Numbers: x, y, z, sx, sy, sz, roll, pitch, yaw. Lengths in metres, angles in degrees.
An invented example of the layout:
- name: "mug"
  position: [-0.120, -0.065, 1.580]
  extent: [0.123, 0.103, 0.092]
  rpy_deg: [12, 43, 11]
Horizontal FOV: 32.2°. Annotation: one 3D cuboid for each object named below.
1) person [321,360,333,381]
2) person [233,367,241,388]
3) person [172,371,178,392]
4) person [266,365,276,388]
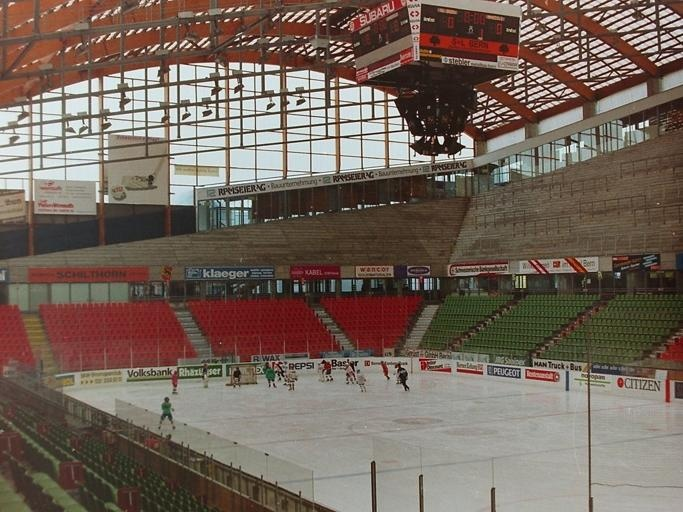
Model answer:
- name: "person"
  position: [-0.962, 7.113, 73.235]
  extent: [0.711, 1.564, 0.979]
  rpy_deg: [-5, 8, -19]
- name: "person"
  position: [-6.275, 7.205, 70.847]
  extent: [0.407, 1.141, 0.485]
  rpy_deg: [-2, -1, -18]
- name: "person"
  position: [-9.659, 7.293, 68.556]
  extent: [0.342, 1.248, 1.095]
  rpy_deg: [-2, -1, -12]
- name: "person"
  position: [-4.268, 7.126, 70.797]
  extent: [0.577, 1.367, 1.503]
  rpy_deg: [-2, -1, -4]
